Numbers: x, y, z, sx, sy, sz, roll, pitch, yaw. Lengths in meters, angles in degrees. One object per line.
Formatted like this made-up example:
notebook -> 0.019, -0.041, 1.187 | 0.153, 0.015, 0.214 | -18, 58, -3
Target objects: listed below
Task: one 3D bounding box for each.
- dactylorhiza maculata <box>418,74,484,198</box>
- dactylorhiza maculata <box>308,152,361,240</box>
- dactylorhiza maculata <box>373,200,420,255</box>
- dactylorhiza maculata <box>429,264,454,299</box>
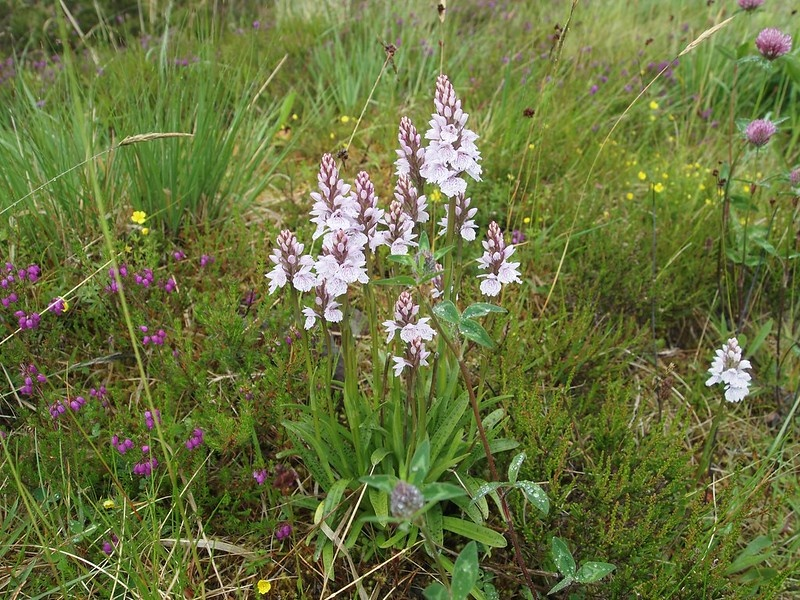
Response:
dactylorhiza maculata -> 0.305, -0.900, 4.149 | 0.259, 0.848, 0.239 | 23, 35, 36
dactylorhiza maculata -> -0.361, -0.595, 4.235 | 0.330, 0.694, 0.437 | -1, 18, 5
dactylorhiza maculata -> -0.035, -0.412, 4.232 | 0.200, 0.376, 0.173 | -19, 29, -34
dactylorhiza maculata -> 0.260, -0.114, 4.451 | 0.102, 0.232, 0.132 | 13, 54, 24
